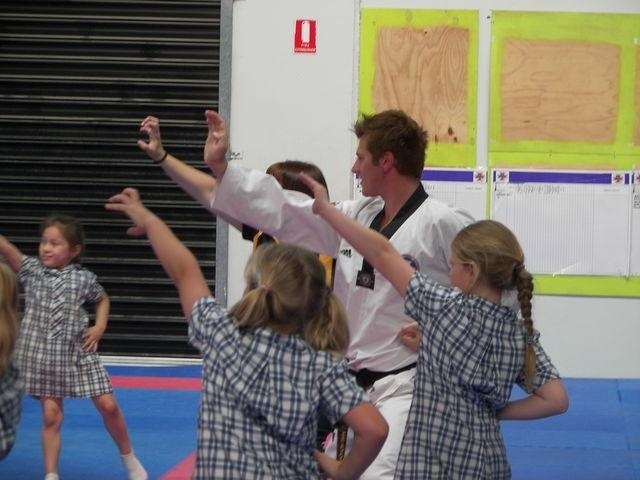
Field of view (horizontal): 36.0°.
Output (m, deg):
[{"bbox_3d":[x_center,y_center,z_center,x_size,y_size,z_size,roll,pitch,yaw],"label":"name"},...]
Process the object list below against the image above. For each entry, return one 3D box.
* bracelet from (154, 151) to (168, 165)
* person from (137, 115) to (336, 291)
[{"bbox_3d":[-1.012,-0.469,6.239,0.019,0.067,0.069,43,-22,-25],"label":"bracelet"},{"bbox_3d":[-0.689,-0.296,6.732,1.397,1.002,0.512,17,5,-32],"label":"person"}]
